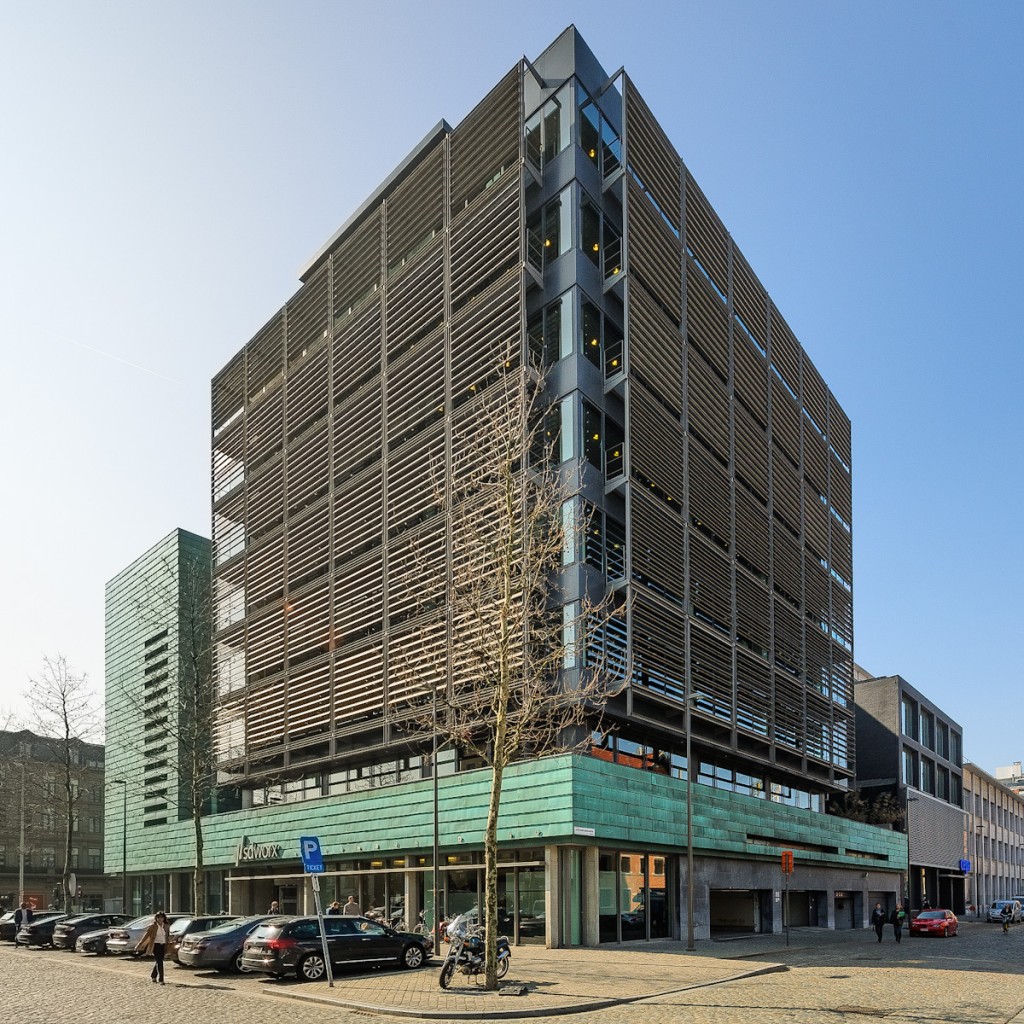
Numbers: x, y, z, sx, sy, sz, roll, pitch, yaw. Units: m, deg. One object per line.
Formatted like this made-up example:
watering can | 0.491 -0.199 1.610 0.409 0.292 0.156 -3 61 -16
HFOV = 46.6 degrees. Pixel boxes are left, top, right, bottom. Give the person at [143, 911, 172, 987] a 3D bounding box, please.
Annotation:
person | -8.543 10.437 28.403 0.532 1.680 2.425 6 -23 -15
